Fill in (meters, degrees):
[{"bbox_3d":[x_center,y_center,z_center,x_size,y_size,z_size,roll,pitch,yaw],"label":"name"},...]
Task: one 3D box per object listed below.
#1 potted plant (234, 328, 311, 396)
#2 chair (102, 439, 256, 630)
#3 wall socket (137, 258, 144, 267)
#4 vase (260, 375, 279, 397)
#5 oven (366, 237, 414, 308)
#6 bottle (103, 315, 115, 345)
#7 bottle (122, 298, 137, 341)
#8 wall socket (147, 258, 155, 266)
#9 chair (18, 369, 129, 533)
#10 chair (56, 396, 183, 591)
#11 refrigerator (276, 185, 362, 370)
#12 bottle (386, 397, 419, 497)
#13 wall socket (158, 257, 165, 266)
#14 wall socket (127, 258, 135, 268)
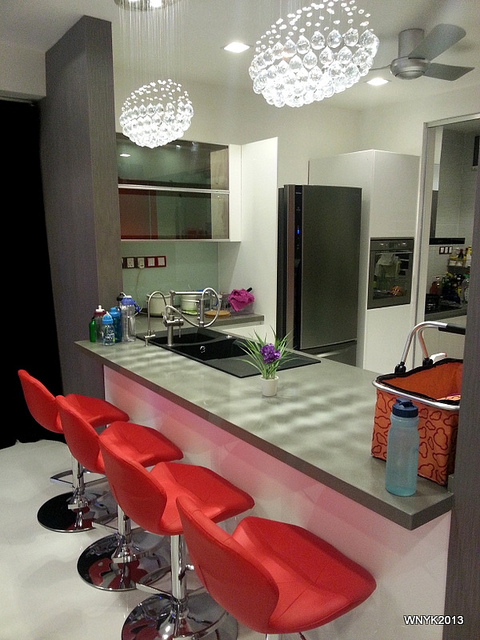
[{"bbox_3d":[0.113,0.175,1.789,0.237,0.230,0.302,-5,-15,33],"label":"potted plant"},{"bbox_3d":[-0.221,0.747,1.615,0.424,0.717,0.381,-4,9,-33],"label":"chair"},{"bbox_3d":[-0.860,-0.505,3.966,0.009,0.100,0.067,12,14,43],"label":"wall socket"},{"bbox_3d":[0.118,0.255,1.780,0.060,0.057,0.069,5,8,26],"label":"vase"},{"bbox_3d":[1.354,-0.437,4.124,0.392,0.621,0.370,1,7,13],"label":"oven"},{"bbox_3d":[-0.795,0.057,2.776,0.069,0.182,0.046,-5,8,-17],"label":"bottle"},{"bbox_3d":[-0.698,-0.013,2.936,0.078,0.280,0.243,-2,8,1],"label":"bottle"},{"bbox_3d":[-0.780,-0.523,4.046,0.059,0.061,0.013,3,2,-44],"label":"wall socket"},{"bbox_3d":[-0.926,0.687,2.532,0.464,0.847,0.448,-2,12,-33],"label":"chair"},{"bbox_3d":[-0.473,0.765,2.043,0.407,0.780,0.453,21,24,18],"label":"chair"},{"bbox_3d":[0.699,-0.326,3.842,0.762,1.536,0.290,-6,8,-24],"label":"refrigerator"},{"bbox_3d":[0.351,0.283,0.988,0.063,0.204,0.037,0,8,18],"label":"bottle"},{"bbox_3d":[-0.708,-0.533,4.114,0.066,0.081,0.008,-6,21,-26],"label":"wall socket"},{"bbox_3d":[-0.934,-0.496,3.914,0.076,0.097,0.009,-3,0,-41],"label":"wall socket"}]
